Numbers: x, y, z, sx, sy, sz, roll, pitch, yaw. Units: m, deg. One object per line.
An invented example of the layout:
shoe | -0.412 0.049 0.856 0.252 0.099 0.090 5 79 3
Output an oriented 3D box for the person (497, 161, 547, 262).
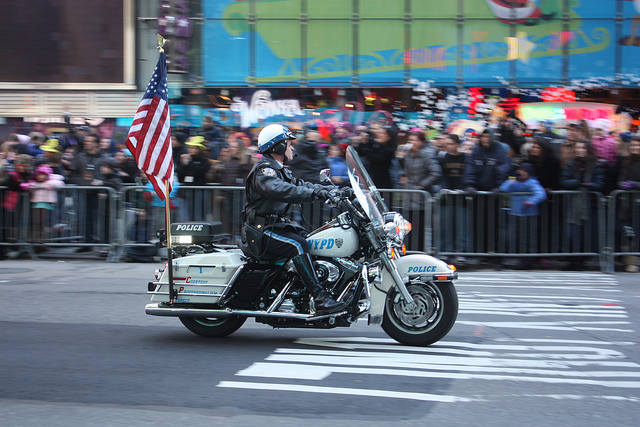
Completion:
person | 3.827 -0.086 16.519 0.841 1.748 0.265 1 -1 7

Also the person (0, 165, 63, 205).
person | -5.649 -0.582 17.548 0.927 0.612 0.254 1 -1 -13

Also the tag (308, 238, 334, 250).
tag | 0.013 0.407 12.050 0.360 0.150 0.023 1 -1 12
